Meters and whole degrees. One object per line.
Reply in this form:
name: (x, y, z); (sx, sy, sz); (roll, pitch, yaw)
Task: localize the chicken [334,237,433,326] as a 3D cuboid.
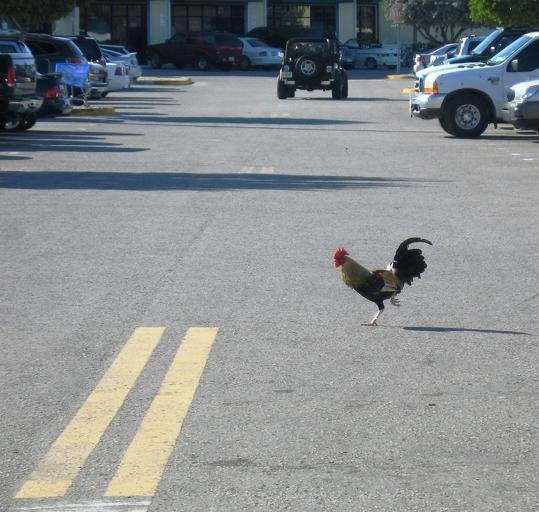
chicken: (0.764, 0.165, 5.518); (0.634, 0.649, 0.352); (0, 14, 1)

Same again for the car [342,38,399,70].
car: (7.447, -15.075, 59.370); (4.071, 2.221, 3.432); (1, 13, 4)
